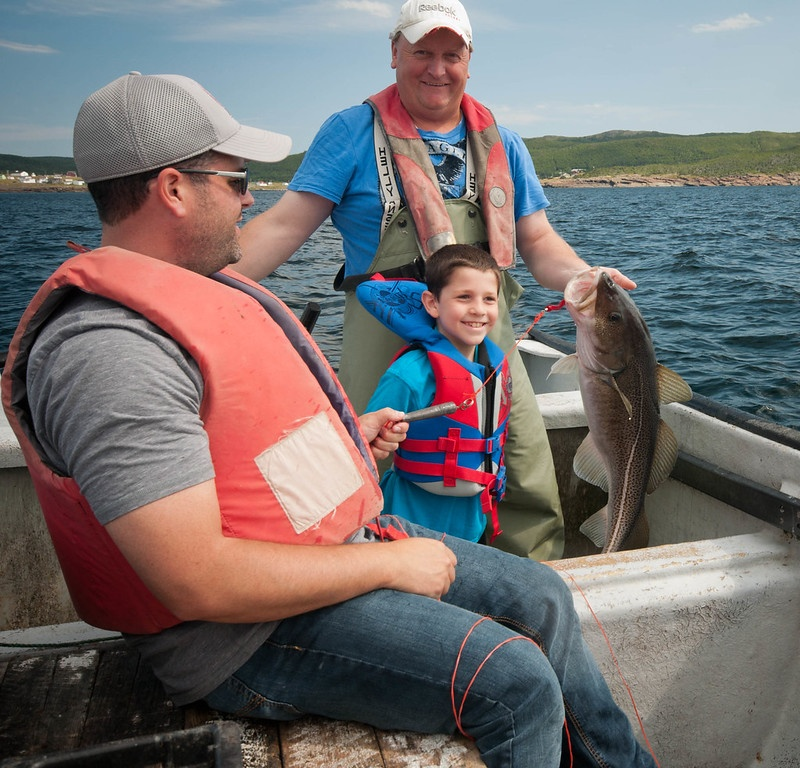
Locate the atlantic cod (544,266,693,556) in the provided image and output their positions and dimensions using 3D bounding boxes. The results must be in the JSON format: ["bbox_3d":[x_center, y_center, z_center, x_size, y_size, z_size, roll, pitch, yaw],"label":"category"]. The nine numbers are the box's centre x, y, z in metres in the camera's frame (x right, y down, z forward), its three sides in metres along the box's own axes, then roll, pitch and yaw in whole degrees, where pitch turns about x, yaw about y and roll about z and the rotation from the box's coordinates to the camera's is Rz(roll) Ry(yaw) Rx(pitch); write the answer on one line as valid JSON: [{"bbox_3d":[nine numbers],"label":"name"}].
[{"bbox_3d":[0.932,0.051,2.905,0.686,1.225,0.464,-1,15,21],"label":"atlantic cod"}]

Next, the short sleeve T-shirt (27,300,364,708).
[{"bbox_3d":[-0.486,0.227,1.681,0.591,0.929,0.891,-8,3,4],"label":"short sleeve T-shirt"}]

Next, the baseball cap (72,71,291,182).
[{"bbox_3d":[-0.498,-0.596,1.548,0.484,0.250,0.246,-10,16,-19],"label":"baseball cap"}]
